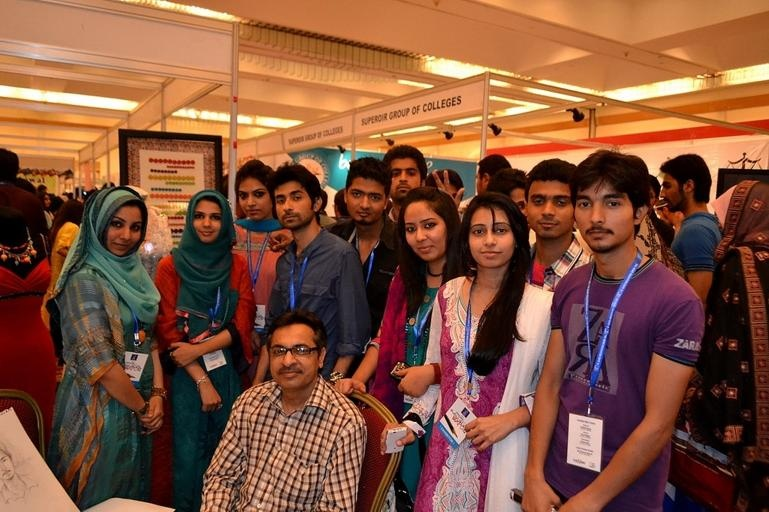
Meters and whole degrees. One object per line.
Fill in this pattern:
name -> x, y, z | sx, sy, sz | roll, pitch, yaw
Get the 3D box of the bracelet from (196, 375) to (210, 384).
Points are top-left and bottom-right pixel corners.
bracelet -> -1.232, 0.843, 3.586 | 0.062, 0.026, 0.053 | -29, -13, 22

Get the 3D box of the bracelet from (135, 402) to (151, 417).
bracelet -> -1.541, 0.986, 3.376 | 0.062, 0.071, 0.078 | 1, -6, 1

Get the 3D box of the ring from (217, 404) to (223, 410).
ring -> -1.134, 1.042, 3.656 | 0.011, 0.042, 0.042 | 20, -7, -1

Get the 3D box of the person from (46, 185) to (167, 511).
person -> -1.764, 0.606, 3.357 | 0.692, 2.069, 0.460 | -4, 8, -33
